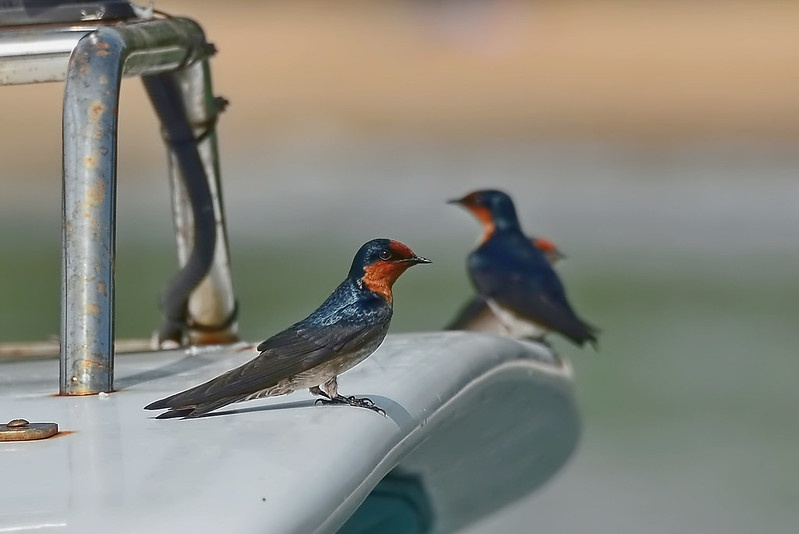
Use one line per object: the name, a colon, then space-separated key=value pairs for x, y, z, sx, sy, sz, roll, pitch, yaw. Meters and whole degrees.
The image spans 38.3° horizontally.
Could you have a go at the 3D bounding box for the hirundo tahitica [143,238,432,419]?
hirundo tahitica: x=-0.150 y=0.091 z=1.576 sx=0.415 sy=0.223 sz=0.116 roll=-7 pitch=4 yaw=6
